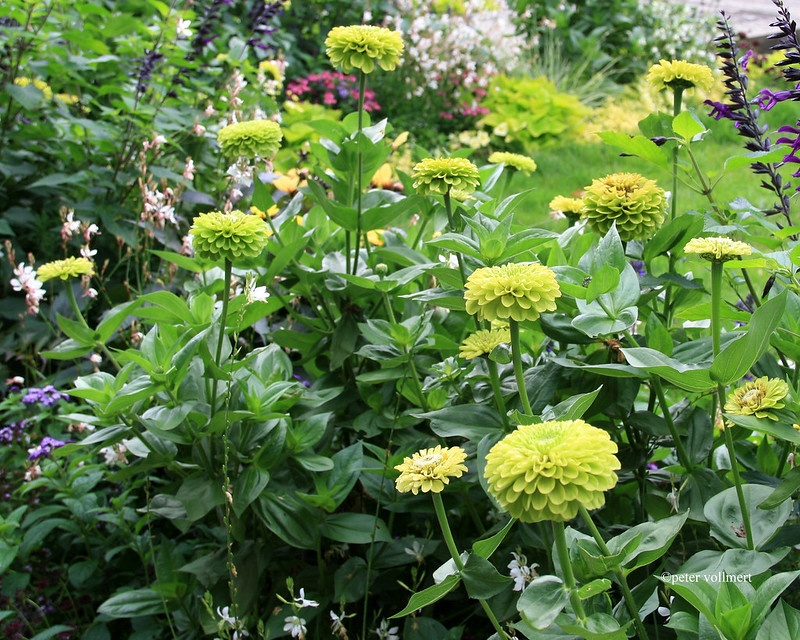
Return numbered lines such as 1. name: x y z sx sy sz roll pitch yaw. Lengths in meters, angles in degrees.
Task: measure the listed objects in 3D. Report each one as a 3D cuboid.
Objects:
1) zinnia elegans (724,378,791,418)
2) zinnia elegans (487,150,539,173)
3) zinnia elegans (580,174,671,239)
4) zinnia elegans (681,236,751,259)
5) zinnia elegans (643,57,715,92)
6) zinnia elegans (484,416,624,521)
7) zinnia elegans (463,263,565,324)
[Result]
1. zinnia elegans: 0.868 0.188 1.839 0.111 0.044 0.114 -49 33 -13
2. zinnia elegans: 0.397 -0.553 2.654 0.132 0.053 0.139 19 6 -2
3. zinnia elegans: 0.628 -0.341 2.177 0.182 0.164 0.193 6 9 34
4. zinnia elegans: 0.800 -0.179 1.911 0.089 0.044 0.095 4 7 16
5. zinnia elegans: 0.857 -0.741 2.312 0.185 0.094 0.236 19 22 17
6. zinnia elegans: 0.328 0.336 1.655 0.272 0.192 0.270 -16 5 -34
7. zinnia elegans: 0.273 -0.063 1.825 0.175 0.114 0.186 -7 1 23
